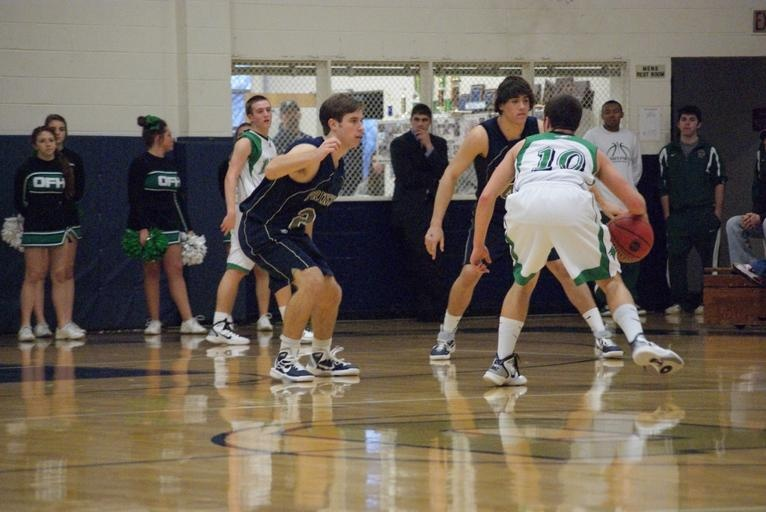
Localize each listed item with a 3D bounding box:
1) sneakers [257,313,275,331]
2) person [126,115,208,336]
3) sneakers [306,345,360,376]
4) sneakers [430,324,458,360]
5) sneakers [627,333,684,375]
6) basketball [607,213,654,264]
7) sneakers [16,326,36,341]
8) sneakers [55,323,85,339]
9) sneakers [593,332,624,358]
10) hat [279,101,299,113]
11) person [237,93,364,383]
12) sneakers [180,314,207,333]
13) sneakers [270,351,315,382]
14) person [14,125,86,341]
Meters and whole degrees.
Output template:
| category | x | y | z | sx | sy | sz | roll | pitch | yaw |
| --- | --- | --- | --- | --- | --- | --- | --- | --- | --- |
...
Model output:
| category | x | y | z | sx | sy | sz | roll | pitch | yaw |
| --- | --- | --- | --- | --- | --- | --- | --- | --- | --- |
| sneakers | -1.248 | 0.703 | 8.799 | 0.146 | 0.172 | 0.394 | 0 | -5 | -9 |
| person | -2.262 | -0.306 | 8.524 | 0.803 | 2.209 | 0.697 | -4 | 9 | -22 |
| sneakers | -0.368 | 0.795 | 6.219 | 0.444 | 0.256 | 0.161 | 1 | -1 | -8 |
| sneakers | 0.515 | 0.737 | 6.886 | 0.123 | 0.233 | 0.347 | 5 | 5 | 15 |
| sneakers | 1.737 | 0.612 | 5.218 | 0.397 | 0.198 | 0.176 | 29 | -47 | -30 |
| basketball | 1.739 | -0.177 | 5.681 | 0.359 | 0.361 | 0.370 | -6 | 18 | 12 |
| sneakers | -3.514 | 0.763 | 8.203 | 0.156 | 0.160 | 0.208 | -4 | 9 | -23 |
| sneakers | -3.135 | 0.751 | 8.332 | 0.267 | 0.132 | 0.153 | -2 | -1 | 14 |
| sneakers | 1.821 | 0.735 | 6.861 | 0.130 | 0.175 | 0.355 | 1 | 1 | -20 |
| hat | -1.054 | -1.652 | 9.220 | 0.141 | 0.138 | 0.035 | 4 | -16 | -4 |
| person | -0.575 | -0.106 | 5.850 | 0.876 | 2.026 | 0.563 | -1 | 8 | -3 |
| sneakers | -1.964 | 0.710 | 8.634 | 0.281 | 0.163 | 0.146 | 3 | 4 | 9 |
| sneakers | -0.668 | 0.790 | 5.932 | 0.397 | 0.195 | 0.145 | 4 | -2 | 34 |
| person | -3.329 | -0.159 | 8.199 | 0.577 | 1.971 | 0.425 | -4 | 9 | -24 |
